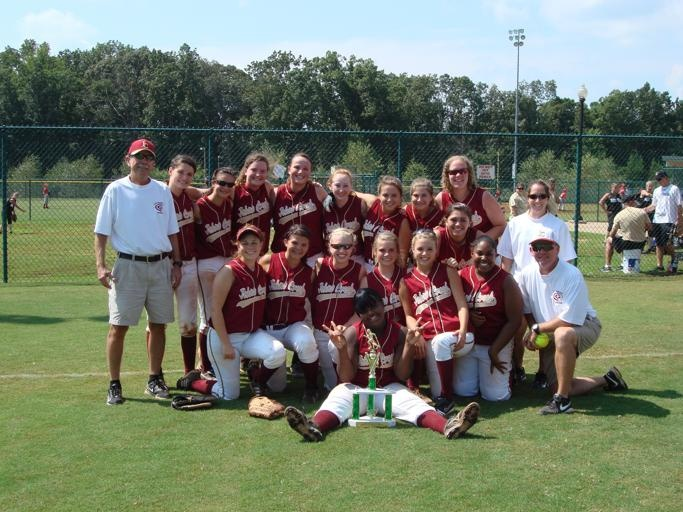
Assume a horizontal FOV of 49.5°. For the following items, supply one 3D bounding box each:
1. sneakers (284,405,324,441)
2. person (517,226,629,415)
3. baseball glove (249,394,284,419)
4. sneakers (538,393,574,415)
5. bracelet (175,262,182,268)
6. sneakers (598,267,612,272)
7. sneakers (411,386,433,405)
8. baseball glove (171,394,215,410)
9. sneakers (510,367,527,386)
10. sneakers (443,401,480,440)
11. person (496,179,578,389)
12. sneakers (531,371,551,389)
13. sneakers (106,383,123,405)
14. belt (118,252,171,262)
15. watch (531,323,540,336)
[{"bbox_3d":[-0.286,1.434,6.571,0.146,0.174,0.389,18,13,-35],"label":"sneakers"},{"bbox_3d":[2.222,0.613,7.350,1.014,1.685,0.964,3,12,13],"label":"person"},{"bbox_3d":[-0.727,1.448,7.073,0.284,0.116,0.399,-10,16,-44],"label":"baseball glove"},{"bbox_3d":[2.073,1.406,7.106,0.389,0.176,0.162,-2,12,-13],"label":"sneakers"},{"bbox_3d":[-1.665,0.087,7.534,0.055,0.039,0.060,1,1,17],"label":"bracelet"},{"bbox_3d":[5.405,0.275,15.240,0.102,0.119,0.275,-2,4,-27],"label":"sneakers"},{"bbox_3d":[0.794,1.379,7.388,0.101,0.126,0.298,-1,-2,-15],"label":"sneakers"},{"bbox_3d":[-1.454,1.422,7.210,0.276,0.100,0.177,3,-6,-23],"label":"baseball glove"},{"bbox_3d":[1.908,1.304,7.993,0.127,0.173,0.385,0,-7,15],"label":"sneakers"},{"bbox_3d":[1.019,1.477,6.604,0.148,0.117,0.316,46,31,23],"label":"sneakers"},{"bbox_3d":[1.992,0.392,8.193,1.044,2.449,0.677,5,15,6],"label":"person"},{"bbox_3d":[2.109,1.317,7.830,0.140,0.170,0.432,-2,-11,17],"label":"sneakers"},{"bbox_3d":[-2.228,1.324,7.280,0.153,0.206,0.246,-3,12,-18],"label":"sneakers"},{"bbox_3d":[-1.931,0.001,7.267,0.484,0.105,0.123,-5,12,-25],"label":"belt"},{"bbox_3d":[1.928,0.723,7.366,0.061,0.095,0.093,-9,-37,18],"label":"watch"}]
